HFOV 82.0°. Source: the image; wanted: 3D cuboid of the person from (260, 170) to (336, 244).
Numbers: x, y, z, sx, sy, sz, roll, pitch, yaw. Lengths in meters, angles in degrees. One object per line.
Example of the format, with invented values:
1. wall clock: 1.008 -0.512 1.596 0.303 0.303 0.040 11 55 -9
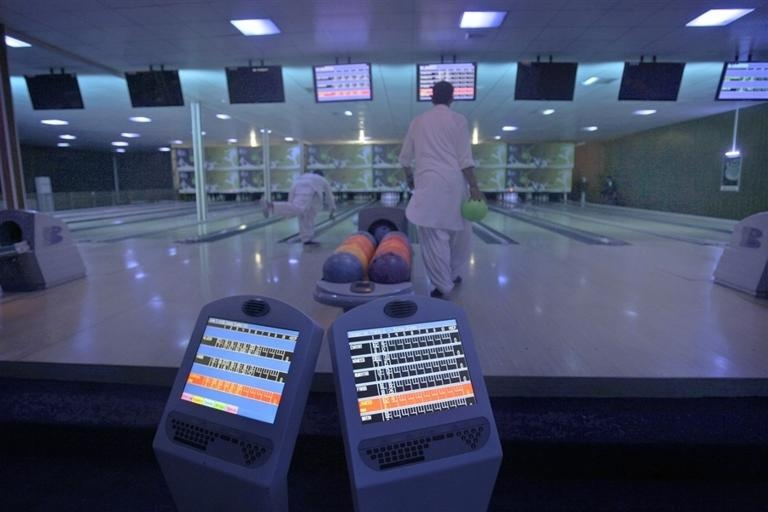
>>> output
1. person: -1.133 -0.654 6.093 0.593 0.950 0.963 7 15 34

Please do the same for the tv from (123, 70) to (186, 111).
1. tv: -3.117 -2.281 6.016 0.784 0.453 0.283 0 13 7

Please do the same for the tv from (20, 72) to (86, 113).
1. tv: -4.461 -2.216 5.969 0.682 0.611 0.154 -2 30 1

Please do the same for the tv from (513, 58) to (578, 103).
1. tv: 2.110 -2.325 5.816 0.845 0.538 0.121 0 19 3

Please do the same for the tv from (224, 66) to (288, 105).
1. tv: -1.744 -2.343 5.991 0.744 0.529 0.586 -3 12 -4

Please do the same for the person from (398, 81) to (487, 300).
1. person: 0.436 -0.525 3.530 0.608 1.696 0.533 -2 13 2

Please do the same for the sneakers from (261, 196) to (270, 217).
1. sneakers: -1.611 -0.637 5.979 0.137 0.344 0.118 9 53 -7

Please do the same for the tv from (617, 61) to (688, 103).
1. tv: 3.379 -2.214 5.617 0.747 0.444 0.157 -3 13 -7
